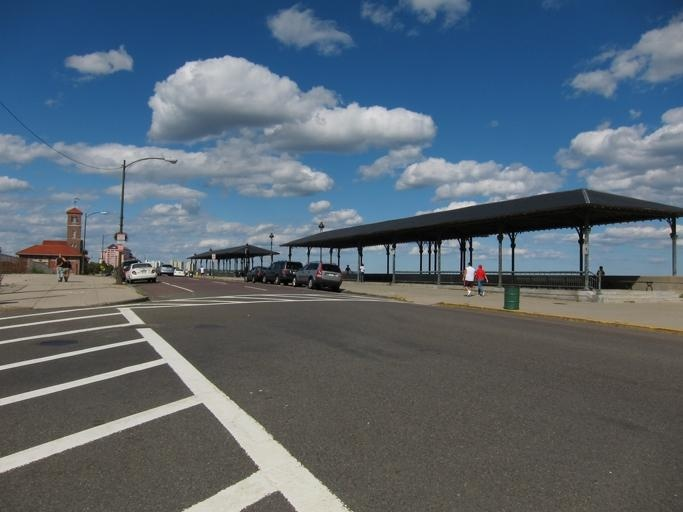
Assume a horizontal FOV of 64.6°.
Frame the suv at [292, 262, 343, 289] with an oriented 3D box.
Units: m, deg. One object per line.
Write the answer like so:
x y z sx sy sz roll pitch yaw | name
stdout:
-1.407 1.263 34.489 1.465 1.180 3.182 5 -2 -24 | suv

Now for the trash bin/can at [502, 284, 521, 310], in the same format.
6.425 1.568 20.332 0.547 0.858 0.554 3 6 23 | trash bin/can

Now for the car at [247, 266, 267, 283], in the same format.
-6.757 1.534 43.877 1.226 1.052 2.525 1 1 -30 | car
